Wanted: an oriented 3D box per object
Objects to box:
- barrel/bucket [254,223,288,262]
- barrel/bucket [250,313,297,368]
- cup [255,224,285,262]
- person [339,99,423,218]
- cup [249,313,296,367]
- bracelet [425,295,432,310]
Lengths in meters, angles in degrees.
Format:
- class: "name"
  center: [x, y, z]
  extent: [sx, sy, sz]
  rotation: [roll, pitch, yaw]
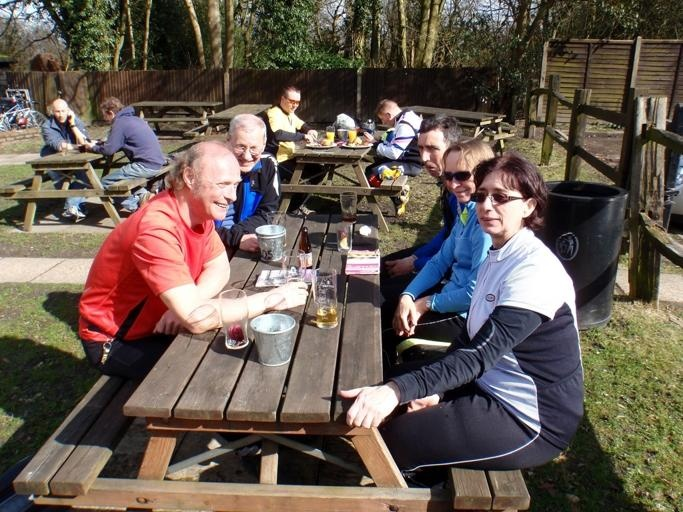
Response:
- class: "barrel/bucket"
  center: [-0.531, -0.103, 3.195]
  extent: [0.252, 0.208, 0.268]
  rotation: [-1, 13, 0]
- class: "barrel/bucket"
  center: [-0.332, 0.404, 2.134]
  extent: [0.231, 0.184, 0.239]
  rotation: [0, 20, 0]
- class: "cup"
  center: [-0.534, -0.099, 3.197]
  extent: [0.250, 0.203, 0.263]
  rotation: [-1, 13, 0]
- class: "person"
  center: [0.834, -1.596, 7.078]
  extent: [1.070, 1.770, 0.815]
  rotation: [1, 20, 3]
- class: "cup"
  center: [-0.344, 0.417, 2.091]
  extent: [0.230, 0.177, 0.211]
  rotation: [2, 14, 0]
- class: "bracelet"
  center: [0.627, 0.336, 3.070]
  extent: [0.030, 0.079, 0.060]
  rotation: [4, -4, -8]
